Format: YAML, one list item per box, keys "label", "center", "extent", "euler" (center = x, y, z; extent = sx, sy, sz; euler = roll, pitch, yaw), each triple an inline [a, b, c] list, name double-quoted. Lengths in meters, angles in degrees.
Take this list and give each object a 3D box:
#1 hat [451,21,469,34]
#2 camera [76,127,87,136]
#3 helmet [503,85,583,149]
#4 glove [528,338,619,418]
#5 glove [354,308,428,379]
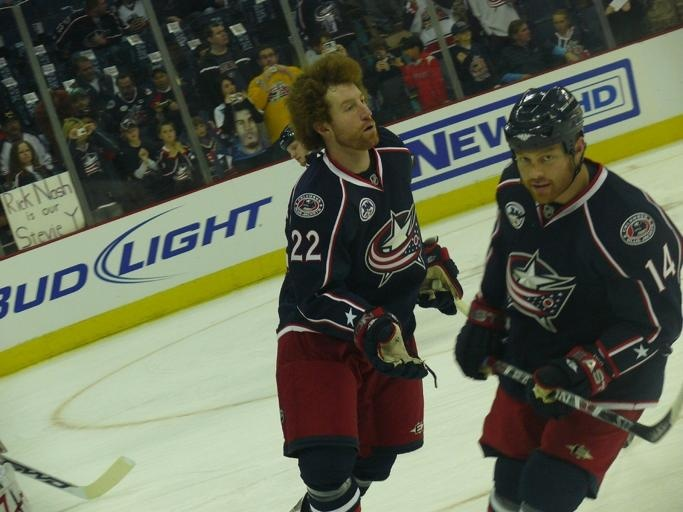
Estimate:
- label: "hat"
  center: [1.193, -2.347, 8.544]
  extent: [0.163, 0.086, 0.104]
  euler: [-21, 38, 18]
- label: "camera"
  center: [-2.415, -1.168, 7.809]
  extent: [0.080, 0.058, 0.081]
  euler: [-8, 13, 19]
- label: "helmet"
  center: [0.937, -0.642, 3.780]
  extent: [0.267, 0.325, 0.343]
  euler: [-1, 27, 39]
- label: "glove"
  center: [1.061, 0.575, 3.873]
  extent: [0.402, 0.227, 0.170]
  euler: [-28, -19, -7]
- label: "glove"
  center: [0.260, 0.422, 4.090]
  extent: [0.276, 0.366, 0.155]
  euler: [-43, 10, 22]
